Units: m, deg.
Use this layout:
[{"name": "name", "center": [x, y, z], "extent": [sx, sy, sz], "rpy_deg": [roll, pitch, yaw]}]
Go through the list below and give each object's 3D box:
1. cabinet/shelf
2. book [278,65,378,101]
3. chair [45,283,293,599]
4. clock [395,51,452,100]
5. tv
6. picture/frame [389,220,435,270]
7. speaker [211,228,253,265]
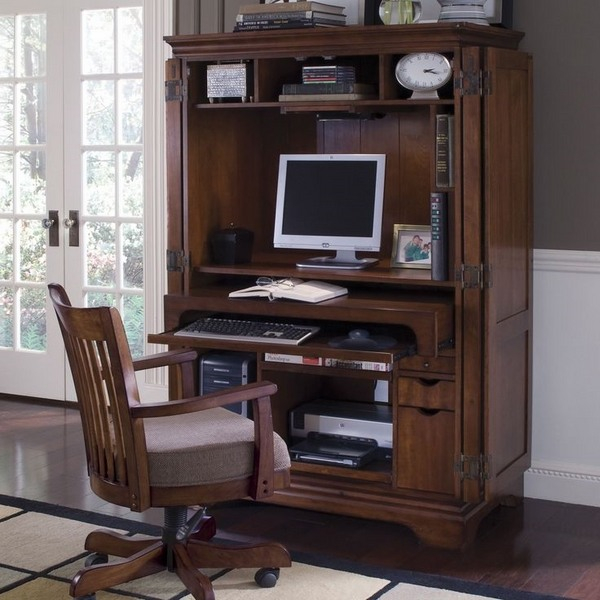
[{"name": "cabinet/shelf", "center": [0.114, -0.097, 2.598], "extent": [1.441, 1.683, 0.959], "rpy_deg": [4, 10, 34]}, {"name": "book", "center": [0.094, -0.760, 2.449], "extent": [0.304, 0.145, 0.171], "rpy_deg": [2, 3, 26]}, {"name": "chair", "center": [-0.307, 0.353, 2.266], "extent": [0.919, 1.056, 0.895], "rpy_deg": [-1, 3, -24]}, {"name": "clock", "center": [0.410, -0.748, 2.269], "extent": [0.194, 0.152, 0.029], "rpy_deg": [-6, 15, -14]}, {"name": "tv", "center": [0.089, -0.363, 2.756], "extent": [0.535, 0.437, 0.274], "rpy_deg": [-4, 21, -33]}, {"name": "picture/frame", "center": [0.456, -0.198, 2.632], "extent": [0.209, 0.162, 0.019], "rpy_deg": [7, 6, 45]}, {"name": "speaker", "center": [-0.259, -0.212, 2.793], "extent": [0.153, 0.157, 0.245], "rpy_deg": [1, 5, 15]}]
